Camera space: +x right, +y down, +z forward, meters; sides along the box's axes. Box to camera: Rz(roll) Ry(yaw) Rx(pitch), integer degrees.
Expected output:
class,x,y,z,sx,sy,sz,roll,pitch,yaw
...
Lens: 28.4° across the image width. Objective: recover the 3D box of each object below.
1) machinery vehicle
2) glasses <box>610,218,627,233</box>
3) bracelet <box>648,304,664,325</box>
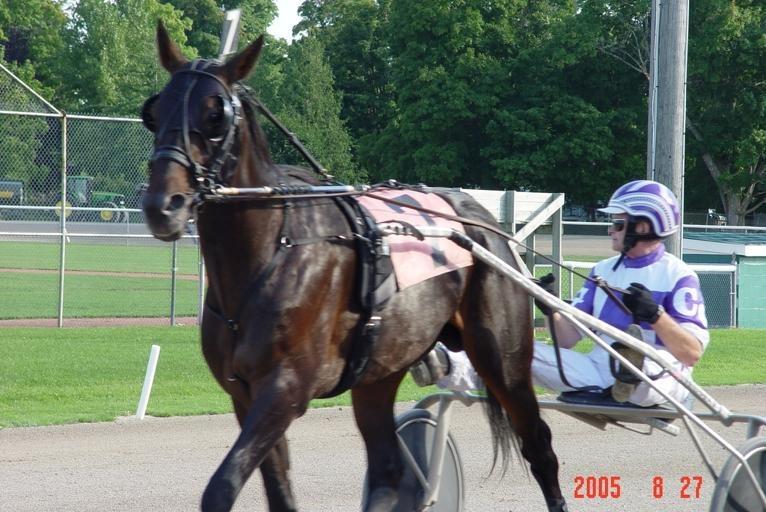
class,x,y,z,sx,sy,sz,roll,pitch,yaw
machinery vehicle,-7.039,-1.403,36.078,1.728,0.977,0.083,-1,3,-39
glasses,4.563,-0.589,29.285,0.234,0.239,0.118,1,16,37
bracelet,5.216,1.133,28.859,0.140,0.326,0.355,33,5,-2
